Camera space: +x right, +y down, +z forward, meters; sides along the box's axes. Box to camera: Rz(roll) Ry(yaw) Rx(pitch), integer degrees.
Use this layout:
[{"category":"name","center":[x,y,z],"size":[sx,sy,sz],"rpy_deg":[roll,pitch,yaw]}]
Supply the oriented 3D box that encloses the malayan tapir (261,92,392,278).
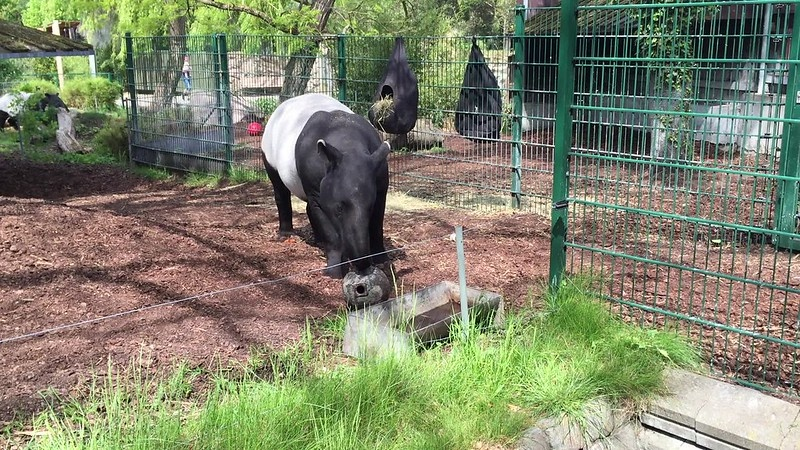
[{"category":"malayan tapir","center":[-0.941,-0.543,8.411],"size":[1.432,2.242,3.080],"rpy_deg":[-1,15,-20]}]
